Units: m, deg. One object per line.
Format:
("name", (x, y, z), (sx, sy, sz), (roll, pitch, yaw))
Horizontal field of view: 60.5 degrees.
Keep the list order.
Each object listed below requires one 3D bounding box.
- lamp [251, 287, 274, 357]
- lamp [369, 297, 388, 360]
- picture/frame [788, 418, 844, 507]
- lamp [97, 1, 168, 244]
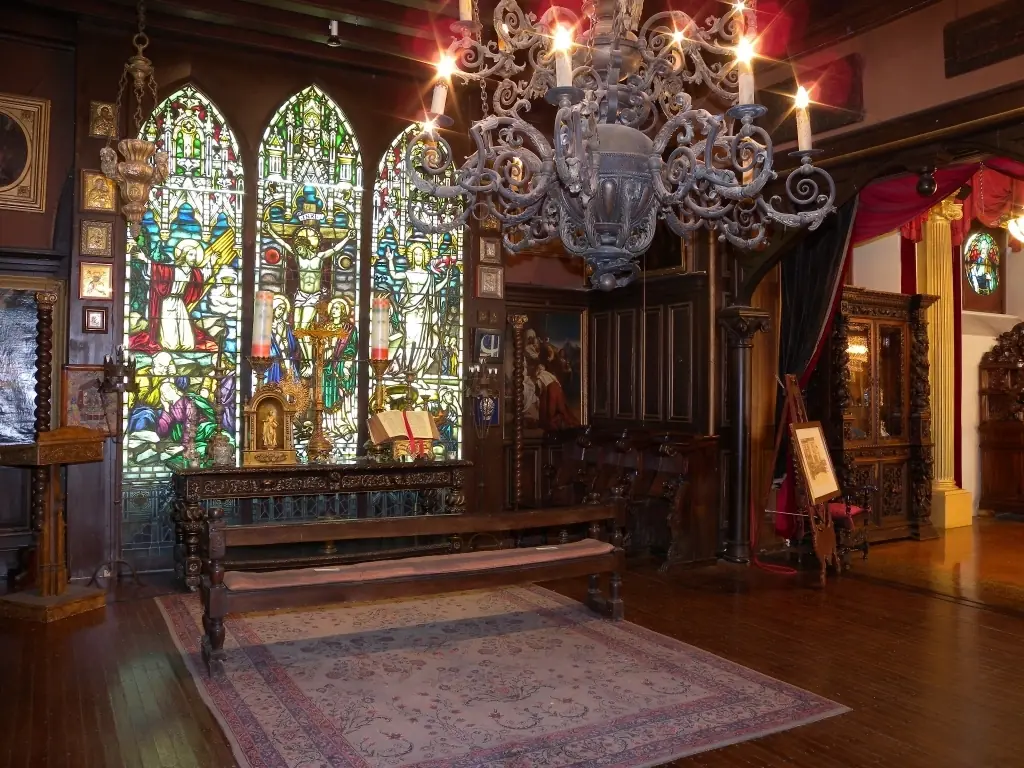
("lamp", (-2.160, -0.524, 7.598), (0.149, 0.564, 0.599), (-1, 6, -14))
("lamp", (-1.196, -0.486, 7.847), (0.147, 0.550, 0.157), (1, 5, -1))
("picture/frame", (3.068, 0.820, 8.953), (0.067, 0.974, 0.869), (-21, -9, 40))
("lamp", (-3.244, -2.299, 7.465), (0.538, 1.998, 1.357), (-2, 6, -23))
